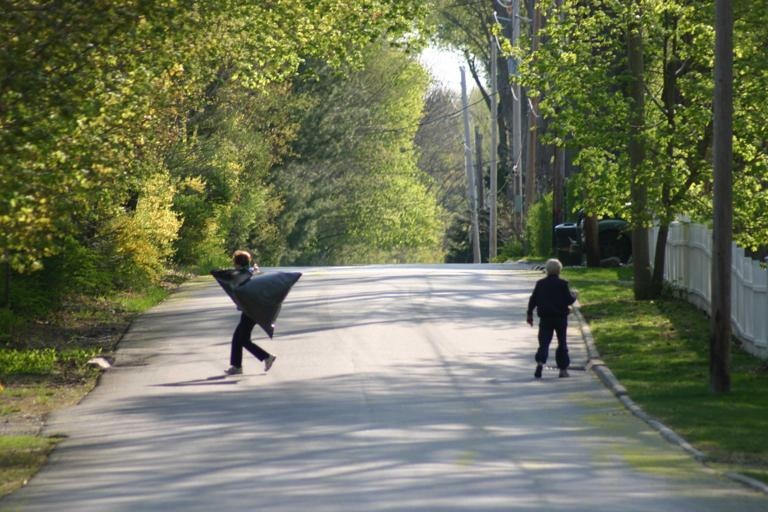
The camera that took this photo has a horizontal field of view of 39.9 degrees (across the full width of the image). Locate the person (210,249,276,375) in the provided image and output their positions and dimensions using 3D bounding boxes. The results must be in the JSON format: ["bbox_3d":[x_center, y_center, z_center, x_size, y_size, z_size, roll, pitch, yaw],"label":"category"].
[{"bbox_3d":[-2.672,1.066,20.208,1.006,2.305,1.281,0,2,-9],"label":"person"}]

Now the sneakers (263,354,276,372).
[{"bbox_3d":[-2.153,2.077,19.837,0.194,0.420,0.142,5,38,-10],"label":"sneakers"}]

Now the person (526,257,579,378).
[{"bbox_3d":[3.286,1.145,19.932,0.874,2.177,1.494,0,2,8],"label":"person"}]

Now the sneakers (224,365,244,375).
[{"bbox_3d":[-2.823,2.155,19.762,0.290,0.126,0.150,2,-1,7],"label":"sneakers"}]
